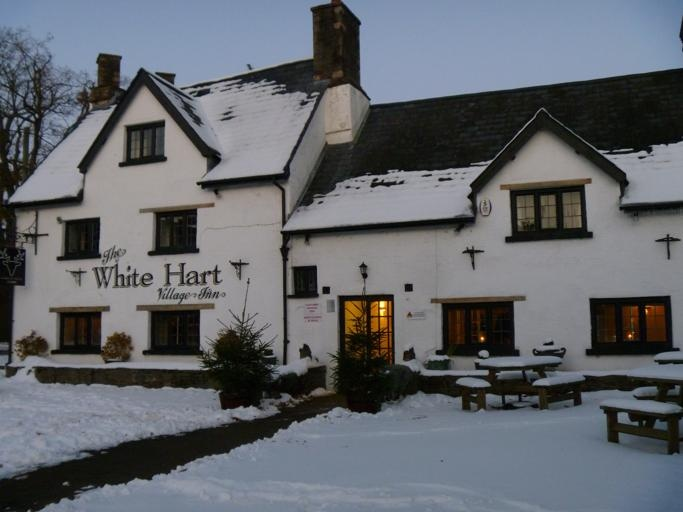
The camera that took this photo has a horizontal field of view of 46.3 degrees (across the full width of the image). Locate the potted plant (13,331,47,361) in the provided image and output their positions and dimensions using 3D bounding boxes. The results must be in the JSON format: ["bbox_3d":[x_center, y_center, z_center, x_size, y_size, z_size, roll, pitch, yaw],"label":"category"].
[{"bbox_3d":[-10.872,2.992,27.668,0.874,1.058,0.931,-13,-14,-16],"label":"potted plant"}]

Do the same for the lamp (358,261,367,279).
[{"bbox_3d":[0.649,0.459,24.461,0.263,0.529,0.186,-2,8,12],"label":"lamp"}]

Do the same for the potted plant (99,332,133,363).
[{"bbox_3d":[-7.542,3.093,26.708,1.112,1.344,0.808,4,-7,-29],"label":"potted plant"}]

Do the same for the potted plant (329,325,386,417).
[{"bbox_3d":[0.465,2.988,20.851,1.698,2.877,1.758,2,-10,-6],"label":"potted plant"}]

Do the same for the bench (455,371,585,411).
[{"bbox_3d":[4.527,3.331,19.855,2.938,1.074,1.826,-2,9,17],"label":"bench"}]

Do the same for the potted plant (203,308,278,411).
[{"bbox_3d":[-2.775,2.871,22.197,2.015,2.924,2.249,1,-10,-4],"label":"potted plant"}]
